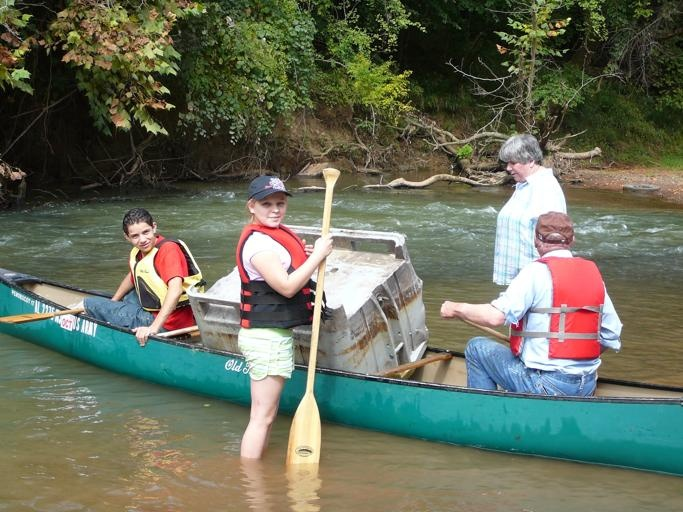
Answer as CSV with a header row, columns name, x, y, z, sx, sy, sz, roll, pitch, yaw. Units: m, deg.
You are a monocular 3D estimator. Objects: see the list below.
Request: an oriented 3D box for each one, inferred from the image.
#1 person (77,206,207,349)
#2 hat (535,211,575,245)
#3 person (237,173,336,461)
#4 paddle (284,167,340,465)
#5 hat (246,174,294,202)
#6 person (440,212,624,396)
name,x,y,z,sx,sy,sz,roll,pitch,yaw
person,-1.814,0.180,5.986,1.175,1.015,0.865,4,11,27
hat,1.400,-0.195,4.710,0.200,0.183,0.244,1,-33,2
person,-0.393,0.447,4.756,0.602,1.934,0.435,1,5,-3
paddle,-0.183,0.499,4.891,0.299,2.292,0.164,6,-5,-4
hat,-0.476,-0.447,4.742,0.261,0.172,0.281,1,4,-4
person,1.414,0.526,5.016,1.410,1.395,0.919,3,-3,-12
